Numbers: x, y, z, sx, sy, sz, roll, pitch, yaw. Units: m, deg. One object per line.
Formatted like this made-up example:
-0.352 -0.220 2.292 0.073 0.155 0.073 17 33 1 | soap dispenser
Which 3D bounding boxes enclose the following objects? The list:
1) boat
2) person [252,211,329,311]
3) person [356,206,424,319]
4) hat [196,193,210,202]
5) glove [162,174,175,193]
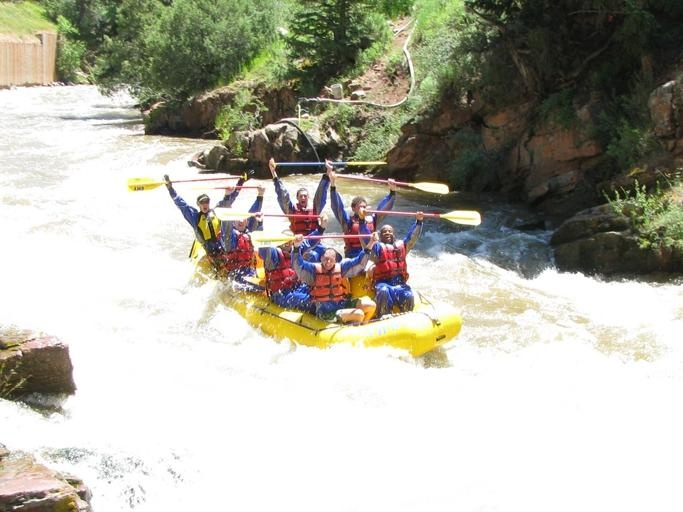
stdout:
-0.357 0.889 13.458 2.886 0.645 1.591 23 28 33 | boat
-0.602 0.111 13.668 1.150 1.377 0.897 -18 8 42 | person
0.794 0.272 13.821 0.799 1.854 0.546 -15 30 -18 | person
-2.253 -0.926 14.735 0.198 0.153 0.309 -2 14 -10 | hat
-2.854 -1.223 14.871 0.113 0.116 0.386 -15 45 -15 | glove
